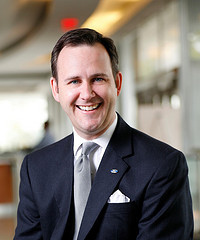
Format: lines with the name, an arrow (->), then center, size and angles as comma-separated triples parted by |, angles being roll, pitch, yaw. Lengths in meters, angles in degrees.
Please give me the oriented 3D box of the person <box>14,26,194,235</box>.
person -> -0.021, 0.056, 1.214 | 0.692, 0.780, 0.360 | -4, 0, 37
